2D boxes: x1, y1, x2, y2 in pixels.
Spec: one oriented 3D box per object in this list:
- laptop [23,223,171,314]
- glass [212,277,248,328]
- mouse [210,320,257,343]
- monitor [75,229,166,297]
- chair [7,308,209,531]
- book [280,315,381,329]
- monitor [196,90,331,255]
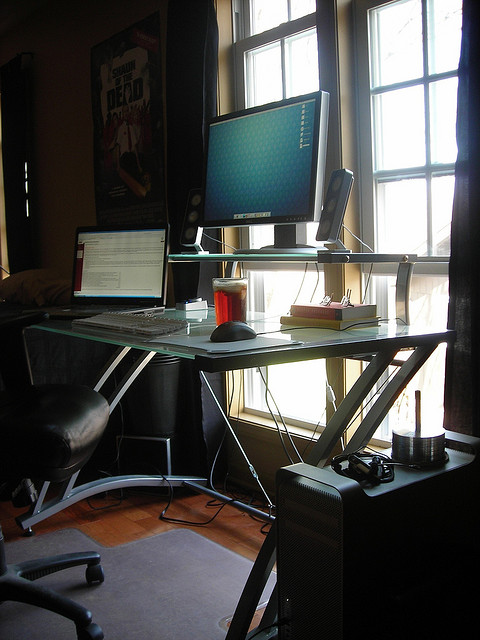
[{"bbox_3d":[-0.508,-0.177,1.723,0.461,0.375,0.334,3,3,25],"label":"laptop"},{"bbox_3d":[-0.028,-0.042,1.209,0.070,0.130,0.076,-4,18,-9],"label":"glass"},{"bbox_3d":[-0.013,0.021,0.979,0.075,0.037,0.111,-1,0,17],"label":"mouse"},{"bbox_3d":[-0.462,-0.206,1.872,0.399,0.248,0.058,-1,-1,29],"label":"monitor"},{"bbox_3d":[-0.436,0.361,1.718,0.432,0.637,0.721,0,1,34],"label":"chair"},{"bbox_3d":[0.206,0.004,1.206,0.240,0.030,0.123,-1,0,14],"label":"book"},{"bbox_3d":[0.039,-0.445,1.478,0.065,0.384,0.525,0,-1,-40],"label":"monitor"}]
